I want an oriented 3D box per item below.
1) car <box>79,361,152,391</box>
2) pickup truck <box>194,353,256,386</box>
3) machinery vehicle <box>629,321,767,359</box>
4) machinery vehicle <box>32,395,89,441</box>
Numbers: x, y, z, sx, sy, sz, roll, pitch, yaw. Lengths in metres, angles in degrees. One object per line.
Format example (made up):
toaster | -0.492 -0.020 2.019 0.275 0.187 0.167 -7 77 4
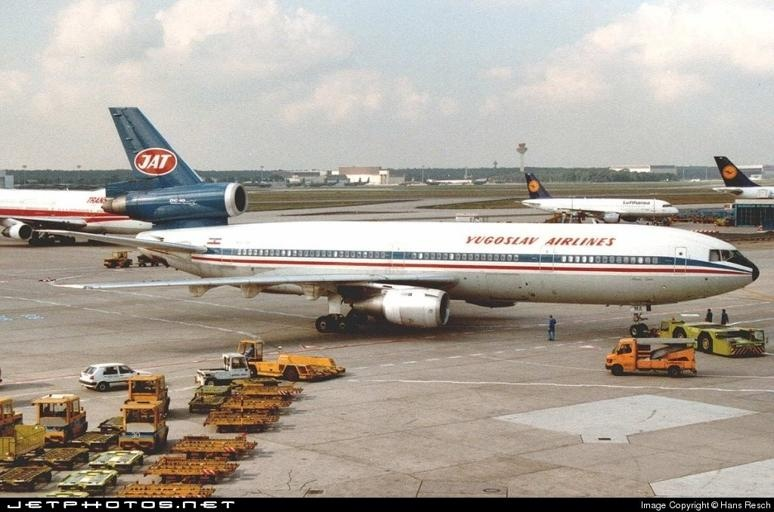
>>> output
car | -12.039 5.268 37.125 3.298 0.633 1.477 -4 8 -28
pickup truck | -7.273 5.105 37.353 3.047 0.902 1.532 -1 4 -20
machinery vehicle | 15.768 4.137 42.845 5.130 0.688 2.866 1 3 42
machinery vehicle | -12.061 6.049 31.367 2.792 1.419 1.445 3 -7 -3
